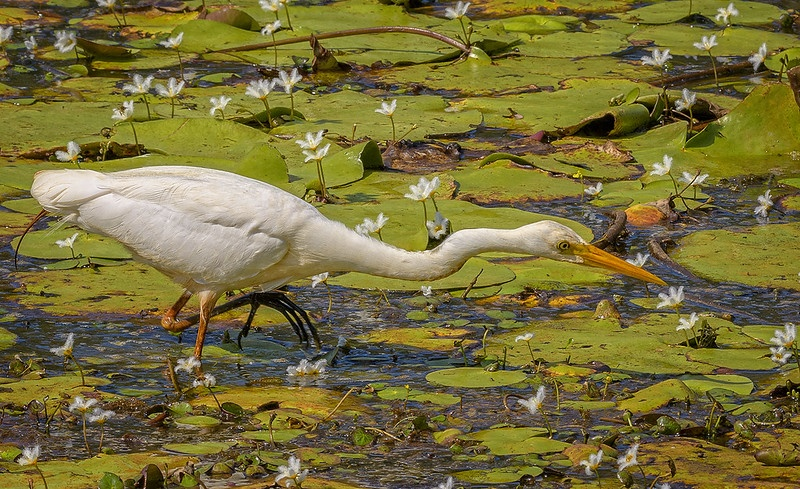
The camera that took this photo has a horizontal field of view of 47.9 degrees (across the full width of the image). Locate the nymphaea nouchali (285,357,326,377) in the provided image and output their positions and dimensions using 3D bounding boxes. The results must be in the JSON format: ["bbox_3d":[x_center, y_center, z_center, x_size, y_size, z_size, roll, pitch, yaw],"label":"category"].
[{"bbox_3d":[-0.678,0.982,7.192,0.384,0.064,0.261,-3,-2,-17],"label":"nymphaea nouchali"}]
